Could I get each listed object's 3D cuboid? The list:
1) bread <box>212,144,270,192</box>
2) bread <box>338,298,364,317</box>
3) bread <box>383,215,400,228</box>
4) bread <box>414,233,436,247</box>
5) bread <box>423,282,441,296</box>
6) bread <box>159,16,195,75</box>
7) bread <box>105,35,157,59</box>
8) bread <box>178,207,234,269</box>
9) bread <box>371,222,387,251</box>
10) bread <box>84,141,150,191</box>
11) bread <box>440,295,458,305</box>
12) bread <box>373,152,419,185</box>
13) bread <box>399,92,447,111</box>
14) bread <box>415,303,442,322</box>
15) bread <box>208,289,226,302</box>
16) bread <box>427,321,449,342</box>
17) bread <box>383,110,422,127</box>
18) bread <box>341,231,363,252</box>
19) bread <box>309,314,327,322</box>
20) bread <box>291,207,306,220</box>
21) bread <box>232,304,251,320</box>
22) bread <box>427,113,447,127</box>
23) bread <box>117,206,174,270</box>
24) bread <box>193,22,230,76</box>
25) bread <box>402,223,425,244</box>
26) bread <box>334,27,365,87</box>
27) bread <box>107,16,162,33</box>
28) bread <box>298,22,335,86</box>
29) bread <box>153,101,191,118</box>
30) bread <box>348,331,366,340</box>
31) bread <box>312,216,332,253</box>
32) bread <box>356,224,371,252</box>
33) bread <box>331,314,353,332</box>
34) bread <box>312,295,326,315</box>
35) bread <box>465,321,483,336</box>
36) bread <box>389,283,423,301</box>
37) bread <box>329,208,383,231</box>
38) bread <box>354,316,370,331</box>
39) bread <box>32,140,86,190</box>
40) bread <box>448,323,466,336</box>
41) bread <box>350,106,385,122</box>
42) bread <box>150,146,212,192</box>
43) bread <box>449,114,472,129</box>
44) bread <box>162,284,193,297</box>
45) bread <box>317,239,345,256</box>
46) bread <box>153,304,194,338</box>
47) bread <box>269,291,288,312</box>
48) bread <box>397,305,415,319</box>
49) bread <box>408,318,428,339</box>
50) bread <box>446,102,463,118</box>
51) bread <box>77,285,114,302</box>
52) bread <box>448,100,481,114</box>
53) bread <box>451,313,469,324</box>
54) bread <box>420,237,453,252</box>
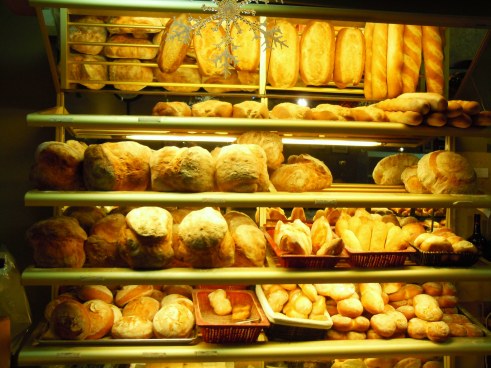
[{"bbox_3d":[0.005,-0.061,2.774,0.287,0.270,0.297,-7,-6,17],"label":"bread"},{"bbox_3d":[0.632,0.724,2.841,0.112,0.059,0.123,20,31,35],"label":"bread"},{"bbox_3d":[0.924,0.225,3.017,0.098,0.052,0.073,26,33,5],"label":"bread"},{"bbox_3d":[1.065,0.338,2.845,0.080,0.047,0.090,-23,0,-11],"label":"bread"},{"bbox_3d":[1.191,0.661,3.024,0.090,0.049,0.088,5,20,14],"label":"bread"},{"bbox_3d":[-0.458,-0.834,2.858,0.239,0.333,0.085,25,22,30],"label":"bread"},{"bbox_3d":[-0.792,-0.918,3.270,0.278,0.075,0.199,-2,30,-14],"label":"bread"},{"bbox_3d":[-0.216,0.296,2.682,0.323,0.326,0.176,0,10,-11],"label":"bread"},{"bbox_3d":[0.796,0.315,2.885,0.075,0.172,0.068,23,-16,-7],"label":"bread"},{"bbox_3d":[-0.701,-0.097,2.634,0.325,0.217,0.289,3,-5,-34],"label":"bread"},{"bbox_3d":[1.287,0.734,3.011,0.073,0.026,0.075,-3,0,-12],"label":"bread"},{"bbox_3d":[0.999,-0.083,3.228,0.239,0.100,0.235,-26,4,-40],"label":"bread"},{"bbox_3d":[1.041,-0.479,2.790,0.241,0.105,0.079,12,-23,27],"label":"bread"},{"bbox_3d":[1.106,0.765,2.867,0.109,0.035,0.110,9,10,32],"label":"bread"},{"bbox_3d":[-0.170,0.660,2.860,0.068,0.026,0.068,-16,11,-40],"label":"bread"},{"bbox_3d":[1.122,0.843,2.779,0.115,0.055,0.114,1,14,23],"label":"bread"},{"bbox_3d":[0.913,-0.381,2.790,0.067,0.069,0.261,9,4,-19],"label":"bread"},{"bbox_3d":[0.624,0.335,2.801,0.074,0.047,0.144,-7,51,-15],"label":"bread"},{"bbox_3d":[0.430,0.780,2.791,0.070,0.022,0.036,0,13,3],"label":"bread"},{"bbox_3d":[0.361,0.201,3.245,0.088,0.115,0.028,-7,15,-12],"label":"bread"},{"bbox_3d":[-0.023,0.748,2.789,0.073,0.027,0.071,-2,18,-6],"label":"bread"},{"bbox_3d":[1.093,-0.365,2.721,0.058,0.055,0.122,-18,9,-10],"label":"bread"},{"bbox_3d":[-0.504,0.291,2.752,0.342,0.313,0.313,3,6,14],"label":"bread"},{"bbox_3d":[-0.217,-0.837,2.893,0.300,0.372,0.103,-1,8,-9],"label":"bread"},{"bbox_3d":[1.050,0.296,3.001,0.130,0.064,0.127,-34,59,-30],"label":"bread"},{"bbox_3d":[0.682,-0.833,3.117,0.203,0.355,0.117,3,-9,-5],"label":"bread"},{"bbox_3d":[-0.736,-1.078,3.232,0.232,0.065,0.163,1,3,-3],"label":"bread"},{"bbox_3d":[0.466,-0.839,3.128,0.232,0.372,0.121,2,3,1],"label":"bread"},{"bbox_3d":[-0.417,-0.412,2.760,0.145,0.049,0.122,0,7,-43],"label":"bread"},{"bbox_3d":[0.657,0.891,2.821,0.055,0.016,0.057,5,7,35],"label":"bread"},{"bbox_3d":[0.439,0.292,2.814,0.062,0.183,0.138,15,-6,-40],"label":"bread"},{"bbox_3d":[0.706,0.313,2.827,0.077,0.144,0.048,7,-12,-11],"label":"bread"},{"bbox_3d":[0.571,0.816,2.825,0.085,0.048,0.109,26,-15,-28],"label":"bread"},{"bbox_3d":[0.438,0.715,2.841,0.060,0.034,0.101,20,51,13],"label":"bread"},{"bbox_3d":[1.378,0.872,2.876,0.076,0.025,0.074,-2,19,-8],"label":"bread"},{"bbox_3d":[1.015,0.674,3.005,0.180,0.056,0.106,-15,12,-34],"label":"bread"},{"bbox_3d":[0.670,0.194,3.015,0.174,0.075,0.214,-4,21,-18],"label":"bread"},{"bbox_3d":[0.694,0.825,2.816,0.087,0.079,0.047,-4,23,4],"label":"bread"},{"bbox_3d":[-1.021,-0.083,2.670,0.300,0.262,0.269,4,-3,-19],"label":"bread"},{"bbox_3d":[1.268,0.865,2.853,0.074,0.039,0.080,8,4,43],"label":"bread"},{"bbox_3d":[0.743,-0.411,2.862,0.148,0.046,0.105,7,3,-32],"label":"bread"},{"bbox_3d":[-0.351,-0.085,2.671,0.361,0.249,0.130,1,9,-6],"label":"bread"},{"bbox_3d":[1.241,-0.358,2.742,0.125,0.064,0.062,3,-10,38],"label":"bread"},{"bbox_3d":[-0.419,0.652,2.957,0.188,0.057,0.095,6,34,-7],"label":"bread"},{"bbox_3d":[0.486,0.371,2.715,0.144,0.086,0.047,-30,34,3],"label":"bread"},{"bbox_3d":[-0.401,0.765,2.675,0.195,0.186,0.101,0,-35,-16],"label":"bread"},{"bbox_3d":[0.197,0.693,2.844,0.099,0.119,0.035,41,-24,-19],"label":"bread"},{"bbox_3d":[0.978,0.769,2.899,0.084,0.041,0.079,3,17,11],"label":"bread"},{"bbox_3d":[1.018,0.849,2.812,0.112,0.066,0.104,-3,50,2],"label":"bread"},{"bbox_3d":[1.200,-0.423,2.719,0.087,0.082,0.042,6,-18,3],"label":"bread"},{"bbox_3d":[-0.878,0.626,2.791,0.163,0.085,0.117,8,-15,-5],"label":"bread"},{"bbox_3d":[1.253,-0.444,2.735,0.187,0.059,0.085,5,14,31],"label":"bread"},{"bbox_3d":[1.320,0.825,2.931,0.059,0.016,0.062,6,11,6],"label":"bread"},{"bbox_3d":[1.113,0.354,2.798,0.133,0.069,0.103,4,-3,-40],"label":"bread"}]
